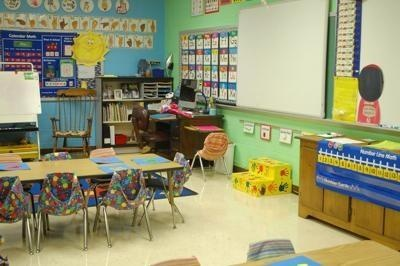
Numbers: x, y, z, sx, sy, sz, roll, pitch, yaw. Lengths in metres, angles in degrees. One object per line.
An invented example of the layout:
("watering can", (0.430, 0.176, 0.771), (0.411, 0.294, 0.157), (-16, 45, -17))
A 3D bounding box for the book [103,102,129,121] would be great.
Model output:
("book", (-2.211, -0.546, 8.039), (0.608, 0.441, 0.126), (-3, 12, -20))

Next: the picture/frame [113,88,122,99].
("picture/frame", (-2.140, -1.032, 8.022), (0.317, 0.402, 0.225), (-1, 6, -18))

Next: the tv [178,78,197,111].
("tv", (-0.275, -0.903, 7.251), (0.294, 0.793, 0.811), (2, 2, -35))

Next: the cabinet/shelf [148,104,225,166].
("cabinet/shelf", (-0.170, 0.020, 7.352), (1.133, 0.983, 2.059), (-2, 10, -10))

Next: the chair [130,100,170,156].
("chair", (-1.072, 0.051, 7.072), (0.922, 1.281, 0.865), (-9, 11, -33))

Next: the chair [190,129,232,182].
("chair", (0.287, 0.401, 6.023), (0.782, 1.161, 0.937), (-1, 7, -22))

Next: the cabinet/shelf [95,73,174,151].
("cabinet/shelf", (-1.691, -0.539, 7.731), (2.159, 1.954, 0.677), (-1, 3, -17))

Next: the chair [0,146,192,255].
("chair", (-1.334, 0.815, 4.114), (2.208, 0.944, 0.983), (-1, 11, -12))

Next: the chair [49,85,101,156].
("chair", (-3.137, -0.294, 7.678), (1.110, 1.659, 1.002), (-4, 12, -26))
